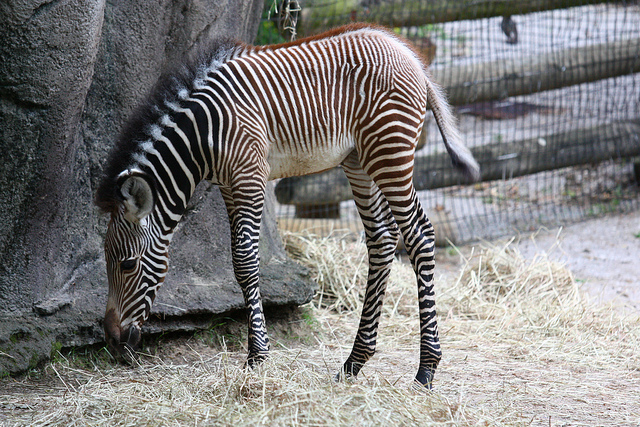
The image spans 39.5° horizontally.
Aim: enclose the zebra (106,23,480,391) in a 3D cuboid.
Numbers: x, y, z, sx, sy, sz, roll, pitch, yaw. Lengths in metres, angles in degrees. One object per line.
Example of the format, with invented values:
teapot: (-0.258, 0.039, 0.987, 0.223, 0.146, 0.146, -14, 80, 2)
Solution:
zebra: (-0.275, -0.080, 6.904, 2.501, 2.639, 1.047, 0, 14, 3)
